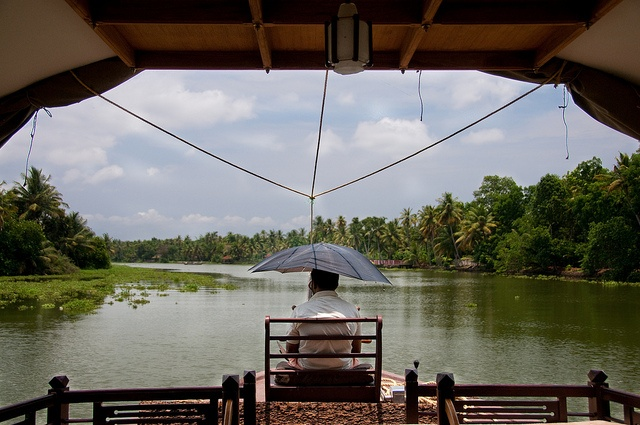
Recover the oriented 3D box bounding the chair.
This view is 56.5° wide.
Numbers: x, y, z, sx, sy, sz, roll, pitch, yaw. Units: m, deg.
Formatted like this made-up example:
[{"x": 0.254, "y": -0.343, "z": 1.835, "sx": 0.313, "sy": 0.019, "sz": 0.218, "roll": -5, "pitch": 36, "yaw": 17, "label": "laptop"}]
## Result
[{"x": 0.066, "y": 2.622, "z": 9.615, "sx": 2.007, "sy": 1.823, "sz": 1.547, "roll": 0, "pitch": -1, "yaw": 0, "label": "chair"}]
